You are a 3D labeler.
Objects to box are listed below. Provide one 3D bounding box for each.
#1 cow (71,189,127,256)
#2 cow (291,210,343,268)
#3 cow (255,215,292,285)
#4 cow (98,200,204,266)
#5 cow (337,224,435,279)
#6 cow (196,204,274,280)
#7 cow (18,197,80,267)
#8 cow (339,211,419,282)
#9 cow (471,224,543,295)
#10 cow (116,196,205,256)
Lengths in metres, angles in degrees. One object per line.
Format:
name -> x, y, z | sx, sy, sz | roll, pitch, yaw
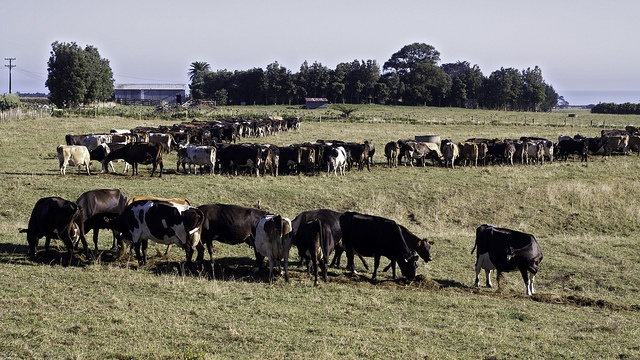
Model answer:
cow -> -12.916, 2.480, 46.602 | 2.849, 3.723, 2.637 | -3, 6, -43
cow -> -0.096, 3.729, 46.483 | 2.080, 3.829, 2.117 | 2, -1, 5
cow -> -3.011, 3.717, 47.243 | 2.090, 3.815, 6.117 | 0, 4, -14
cow -> -9.467, 3.039, 45.542 | 5.864, 3.712, 1.660 | 0, 8, 17
cow -> 2.932, 3.784, 46.570 | 7.286, 3.964, 2.243 | 7, 9, 11
cow -> -4.882, 3.366, 45.965 | 6.075, 3.548, 1.346 | -3, 1, -36
cow -> -15.444, 2.955, 45.137 | 2.813, 3.876, 2.260 | 3, -3, -35
cow -> 3.435, 4.025, 46.219 | 5.067, 3.696, 1.650 | 14, 17, 33
cow -> 11.679, 4.449, 47.239 | 4.420, 4.395, 3.042 | 7, -1, 29
cow -> -9.442, 3.167, 45.461 | 5.938, 3.759, 1.628 | 0, 5, 15
